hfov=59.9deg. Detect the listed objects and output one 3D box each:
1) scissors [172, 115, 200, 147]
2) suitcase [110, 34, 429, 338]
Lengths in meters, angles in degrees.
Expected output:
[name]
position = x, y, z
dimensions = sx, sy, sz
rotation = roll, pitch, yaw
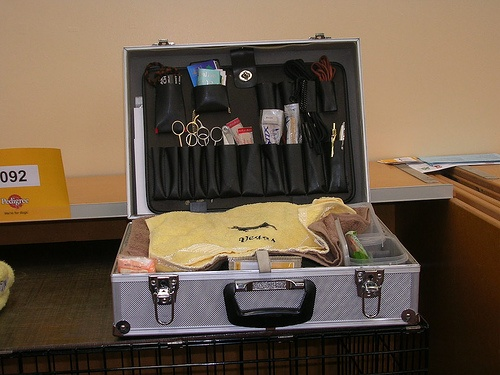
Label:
[scissors]
position = -0.226, -0.205, 1.615
dimensions = 0.109, 0.114, 0.027
rotation = -7, 2, -12
[suitcase]
position = -0.016, -0.077, 1.677
dimensions = 0.992, 0.803, 1.026
rotation = -2, 19, -4
